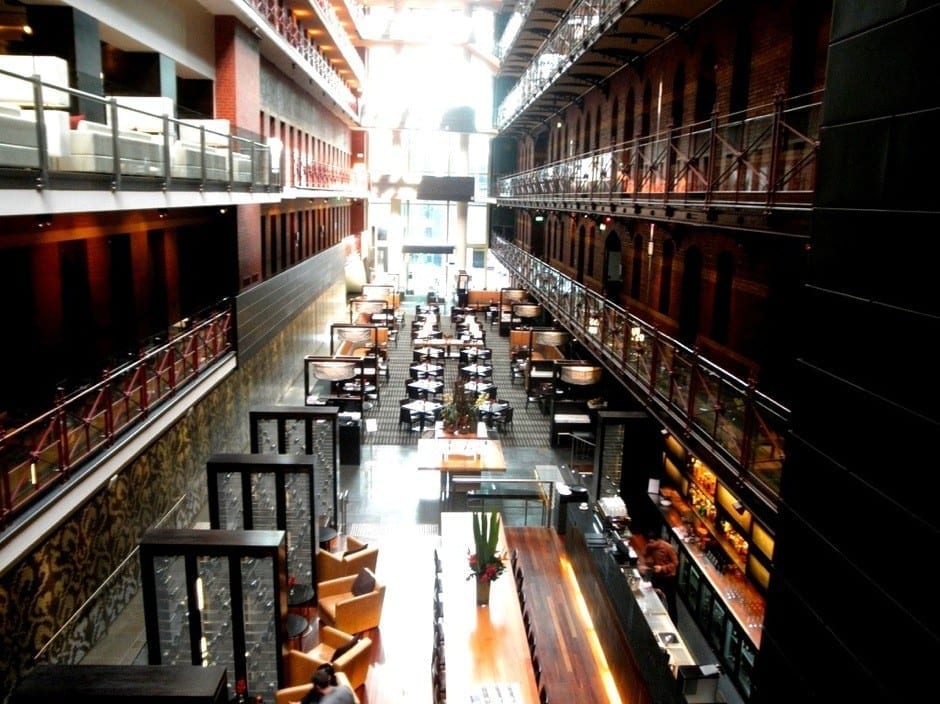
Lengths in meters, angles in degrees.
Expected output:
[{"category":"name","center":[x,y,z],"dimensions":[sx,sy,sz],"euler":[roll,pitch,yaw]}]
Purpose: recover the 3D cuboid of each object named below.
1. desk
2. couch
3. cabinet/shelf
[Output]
[{"category":"desk","center":[-0.185,3.129,16.007],"dimensions":[1.491,1.603,1.161],"euler":[0,-74,-3]},{"category":"couch","center":[-4.501,-3.001,10.183],"dimensions":[0.685,8.431,0.943],"euler":[10,-73,-8]},{"category":"cabinet/shelf","center":[3.821,2.590,10.140],"dimensions":[0.406,3.254,1.670],"euler":[-1,-71,-4]}]
